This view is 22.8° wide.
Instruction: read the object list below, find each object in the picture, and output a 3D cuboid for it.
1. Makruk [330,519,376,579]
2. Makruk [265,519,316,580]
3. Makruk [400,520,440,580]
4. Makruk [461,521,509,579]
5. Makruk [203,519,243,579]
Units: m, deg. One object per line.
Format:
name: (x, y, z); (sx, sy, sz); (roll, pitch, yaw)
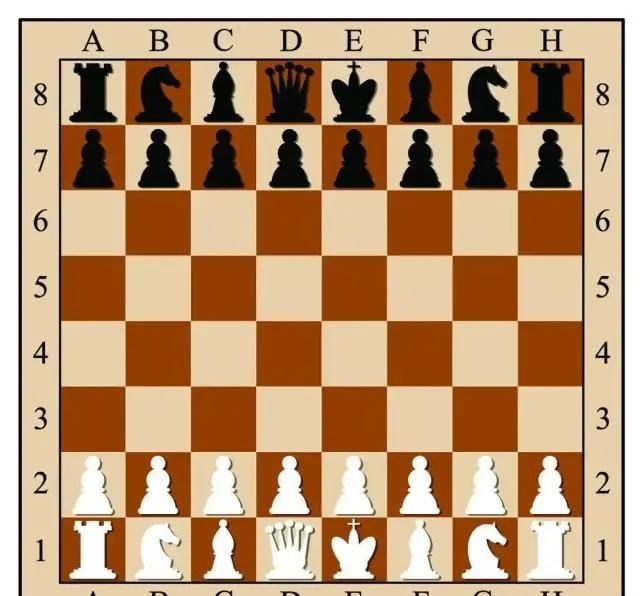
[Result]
Makruk: (0.086, 0.668, 4.242); (0.120, 0.018, 0.158); (1, 83, 1)
Makruk: (-0.082, 0.669, 4.244); (0.128, 0.016, 0.159); (1, 83, 1)
Makruk: (0.267, 0.671, 4.255); (0.107, 0.016, 0.158); (-1, 66, 6)
Makruk: (0.436, 0.671, 4.248); (0.136, 0.013, 0.175); (0, 90, 5)
Makruk: (-0.267, 0.668, 4.245); (0.103, 0.012, 0.156); (-3, 83, 0)
